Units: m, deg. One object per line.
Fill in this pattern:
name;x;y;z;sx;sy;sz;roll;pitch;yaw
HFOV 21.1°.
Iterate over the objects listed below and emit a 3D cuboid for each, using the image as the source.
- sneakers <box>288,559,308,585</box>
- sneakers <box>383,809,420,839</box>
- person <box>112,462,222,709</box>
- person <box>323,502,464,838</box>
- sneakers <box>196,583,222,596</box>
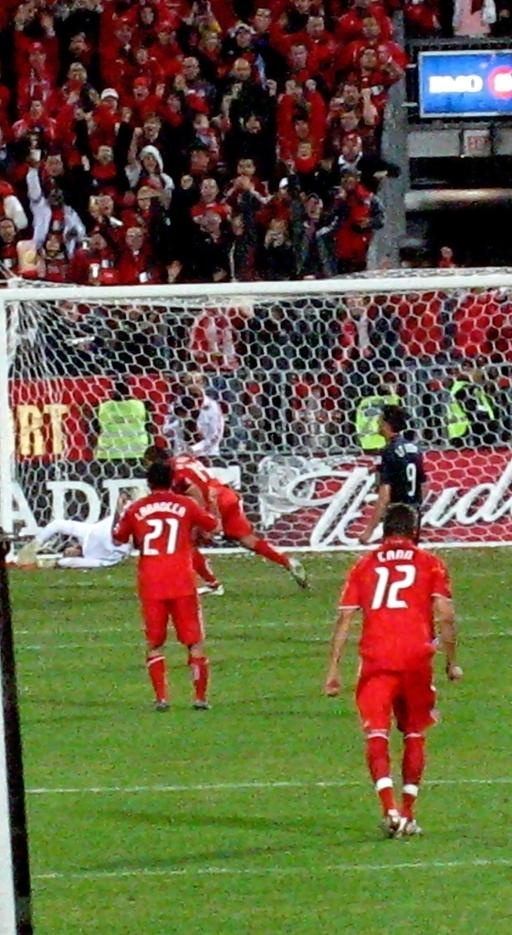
sneakers;0.281;0.693;9.602;0.117;0.082;0.234;-3;48;-2
sneakers;0.580;1.481;5.679;0.210;0.095;0.120;10;-23;-6
person;-0.488;0.650;7.430;0.564;1.372;0.503;-3;14;-3
person;0.562;0.914;5.887;0.520;1.413;0.797;3;14;17
sneakers;-0.327;0.865;9.774;0.204;0.081;0.069;3;-1;1
